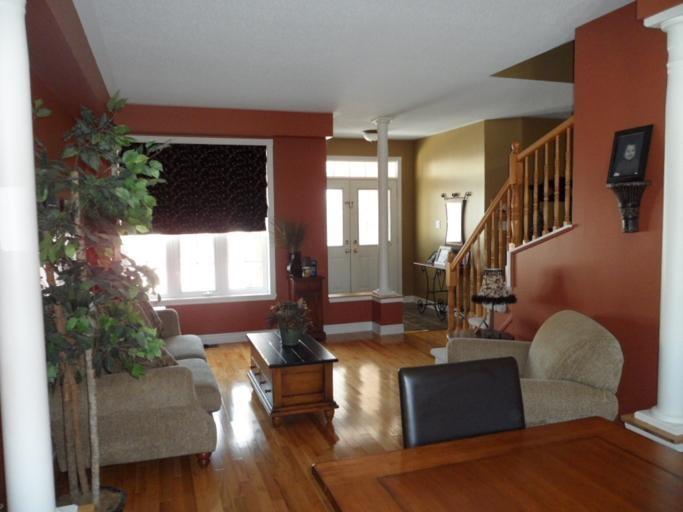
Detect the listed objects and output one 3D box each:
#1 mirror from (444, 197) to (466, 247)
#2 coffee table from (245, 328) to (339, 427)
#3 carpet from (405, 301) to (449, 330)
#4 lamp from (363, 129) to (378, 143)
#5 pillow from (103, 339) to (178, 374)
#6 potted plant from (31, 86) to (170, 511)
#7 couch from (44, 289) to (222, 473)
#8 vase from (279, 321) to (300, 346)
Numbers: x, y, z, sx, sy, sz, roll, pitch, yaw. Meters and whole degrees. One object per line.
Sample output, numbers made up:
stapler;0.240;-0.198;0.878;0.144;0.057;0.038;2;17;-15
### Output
mirror;1.899;-0.583;8.868;0.075;1.046;0.861;-1;3;-21
coffee table;-0.437;0.878;4.789;0.559;0.532;1.055;0;4;-15
carpet;1.365;0.996;8.776;0.667;0.234;2.139;-3;10;7
lamp;0.457;-1.922;8.495;0.230;0.142;0.322;1;8;1
pillow;-1.249;0.615;3.244;0.331;0.134;0.388;1;0;-9
potted plant;-1.411;0.339;3.126;0.753;2.482;0.947;-9;11;-26
couch;-1.486;1.010;4.039;0.989;1.103;1.376;-3;8;-17
vase;-0.496;0.712;4.957;0.199;0.169;0.220;1;-1;-1
